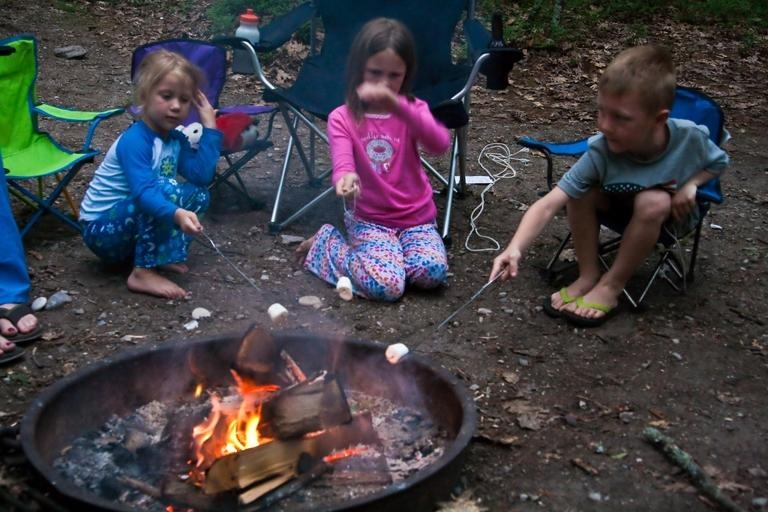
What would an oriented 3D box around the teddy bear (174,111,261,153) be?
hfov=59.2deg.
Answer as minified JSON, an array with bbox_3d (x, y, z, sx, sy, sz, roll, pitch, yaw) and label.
[{"bbox_3d":[-1.067,-0.846,4.529,0.374,0.131,0.367,-14,13,-31],"label":"teddy bear"}]

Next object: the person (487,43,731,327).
[{"bbox_3d":[1.266,-0.348,3.591,1.281,1.370,0.583,-22,41,-34],"label":"person"}]

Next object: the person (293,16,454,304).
[{"bbox_3d":[0.008,-0.540,3.902,0.907,1.397,0.905,10,33,9],"label":"person"}]

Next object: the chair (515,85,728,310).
[{"bbox_3d":[1.443,-0.350,3.961,0.789,1.125,1.204,-22,33,-37],"label":"chair"}]

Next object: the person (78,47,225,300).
[{"bbox_3d":[-1.343,-0.463,3.796,0.725,1.208,0.777,4,33,0],"label":"person"}]
